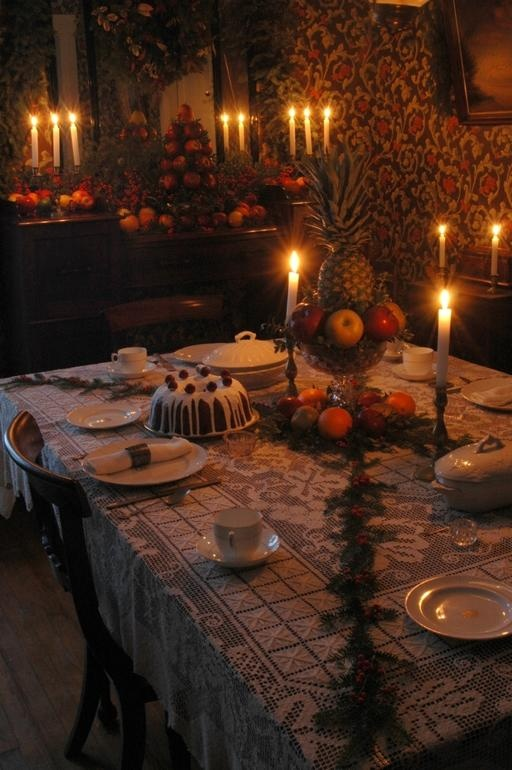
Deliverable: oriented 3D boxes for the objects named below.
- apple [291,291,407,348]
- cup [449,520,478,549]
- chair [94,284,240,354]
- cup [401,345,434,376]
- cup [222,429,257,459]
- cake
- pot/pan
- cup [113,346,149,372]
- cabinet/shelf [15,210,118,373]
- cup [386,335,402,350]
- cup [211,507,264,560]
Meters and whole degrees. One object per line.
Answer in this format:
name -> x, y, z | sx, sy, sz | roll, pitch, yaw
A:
apple -> 0.200, -0.145, 1.279 | 0.196, 0.077, 0.110 | 0, 6, 0
cup -> 0.289, 0.207, 0.823 | 0.035, 0.030, 0.035 | -2, 4, 0
chair -> -0.360, -0.260, 2.700 | 0.513, 0.212, 0.391 | -10, 20, -27
cup -> 0.475, -0.070, 1.711 | 0.097, 0.066, 0.077 | 6, 12, 22
cup -> -0.030, 0.123, 1.210 | 0.050, 0.039, 0.055 | -3, 7, -12
cake -> -0.133, 0.046, 1.329 | 0.188, 0.081, 0.183 | -5, 15, -38
pot/pan -> -0.015, -0.077, 1.596 | 0.163, 0.108, 0.194 | -2, 10, -4
cup -> -0.362, -0.066, 1.741 | 0.104, 0.071, 0.079 | -7, 26, -18
cabinet/shelf -> -0.857, -0.360, 2.962 | 0.515, 0.773, 0.416 | -5, -4, -4
cup -> 0.368, -0.111, 1.579 | 0.041, 0.040, 0.040 | 4, 3, 0
cup -> -0.024, 0.200, 0.772 | 0.061, 0.054, 0.074 | 4, 13, 26
